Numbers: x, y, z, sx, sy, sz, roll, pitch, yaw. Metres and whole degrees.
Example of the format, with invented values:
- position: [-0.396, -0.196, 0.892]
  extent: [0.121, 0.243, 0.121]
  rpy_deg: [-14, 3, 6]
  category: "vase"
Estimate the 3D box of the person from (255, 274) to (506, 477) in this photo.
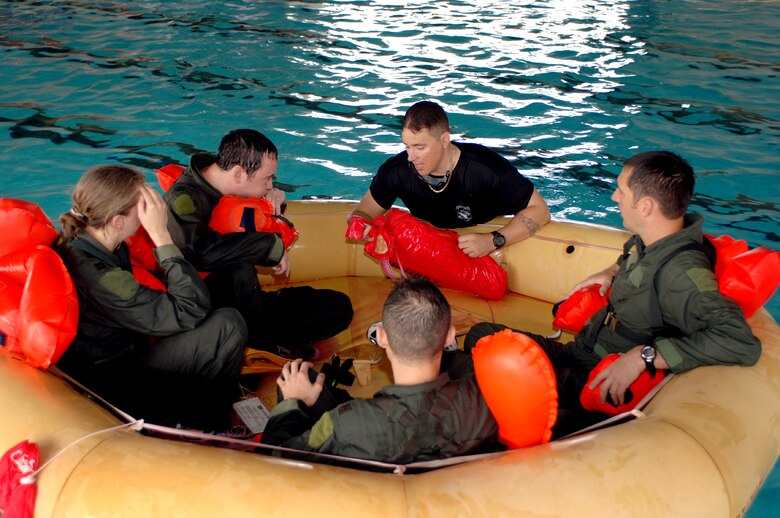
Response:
- position: [-0.198, 0.626, 3.057]
  extent: [1.293, 1.491, 0.748]
  rpy_deg: [3, 71, -19]
  category: "person"

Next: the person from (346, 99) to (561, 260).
- position: [0.382, -0.585, 4.262]
  extent: [1.514, 0.883, 0.934]
  rpy_deg: [-4, 23, 8]
  category: "person"

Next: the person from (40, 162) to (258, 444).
- position: [-1.306, 0.277, 3.354]
  extent: [1.040, 1.435, 0.658]
  rpy_deg: [0, 27, -6]
  category: "person"
